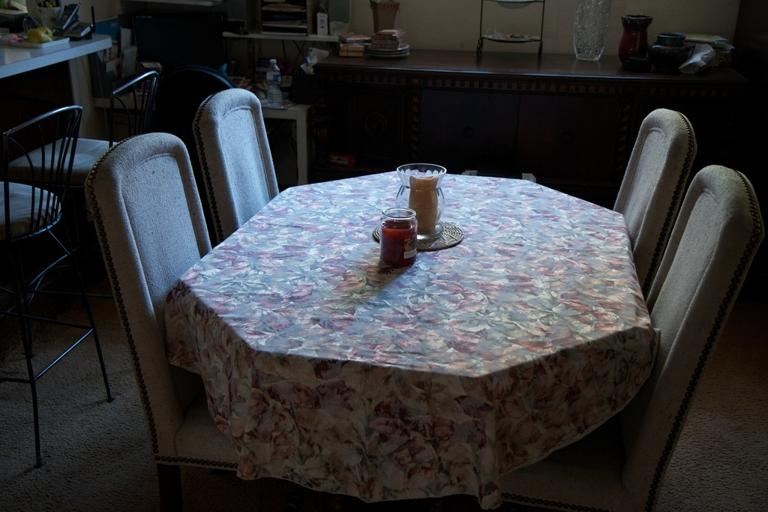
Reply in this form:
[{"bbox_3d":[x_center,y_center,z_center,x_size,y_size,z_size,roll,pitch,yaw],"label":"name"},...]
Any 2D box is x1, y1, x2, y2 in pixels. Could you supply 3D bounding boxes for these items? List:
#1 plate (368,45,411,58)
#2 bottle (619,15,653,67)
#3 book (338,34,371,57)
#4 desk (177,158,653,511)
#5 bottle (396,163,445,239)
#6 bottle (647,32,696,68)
[{"bbox_3d":[0.036,-1.335,3.830,0.314,0.072,0.124,-8,28,-19],"label":"plate"},{"bbox_3d":[1.571,-1.340,3.628,0.151,0.260,0.148,1,27,-1],"label":"bottle"},{"bbox_3d":[-0.198,-1.401,3.897,0.204,0.117,0.223,1,26,-2],"label":"book"},{"bbox_3d":[0.115,0.209,1.862,1.471,0.420,1.125,-12,29,-25],"label":"desk"},{"bbox_3d":[0.133,-0.198,2.070,0.232,0.219,0.228,2,24,2],"label":"bottle"},{"bbox_3d":[1.742,-1.244,3.563,0.232,0.162,0.230,-1,31,1],"label":"bottle"}]
